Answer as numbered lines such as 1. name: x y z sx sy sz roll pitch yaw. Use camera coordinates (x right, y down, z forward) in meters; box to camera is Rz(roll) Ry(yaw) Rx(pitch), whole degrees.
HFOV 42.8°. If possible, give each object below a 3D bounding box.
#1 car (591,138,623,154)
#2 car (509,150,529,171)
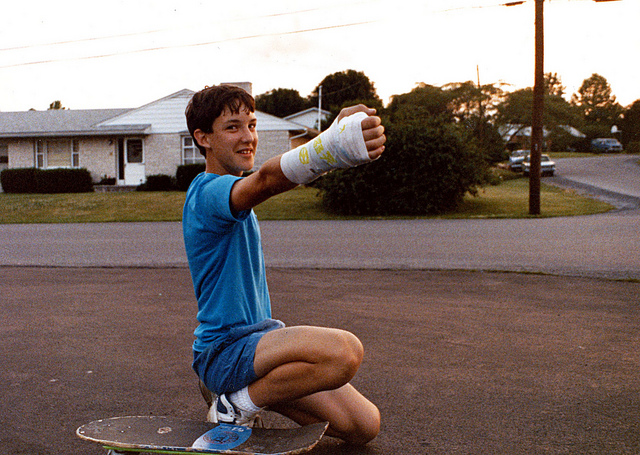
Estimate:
1. car: 26.695 -7.676 76.936 1.555 1.277 3.041 -2 0 -18
2. car: 10.632 -3.638 44.352 0.820 0.630 1.846 -3 14 10
